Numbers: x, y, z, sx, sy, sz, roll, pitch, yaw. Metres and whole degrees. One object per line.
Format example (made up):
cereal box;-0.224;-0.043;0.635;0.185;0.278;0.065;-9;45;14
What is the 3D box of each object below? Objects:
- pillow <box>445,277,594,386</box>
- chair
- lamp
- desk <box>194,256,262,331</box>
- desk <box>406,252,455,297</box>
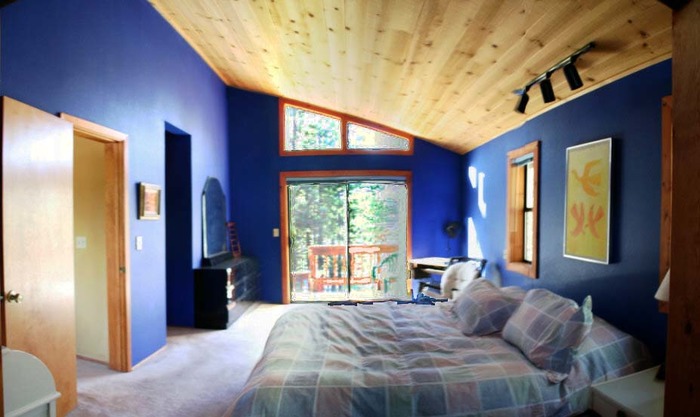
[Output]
pillow;1.754;1.110;4.502;0.790;0.440;1.287;-10;7;-13
chair;1.478;1.016;6.800;0.773;0.877;0.827;3;-2;28
lamp;2.068;-1.324;4.815;0.376;0.650;0.889;-4;13;-20
desk;-1.834;1.266;6.812;0.345;0.537;1.093;0;-3;11
desk;1.218;1.181;7.659;0.466;0.522;0.588;14;-8;9
